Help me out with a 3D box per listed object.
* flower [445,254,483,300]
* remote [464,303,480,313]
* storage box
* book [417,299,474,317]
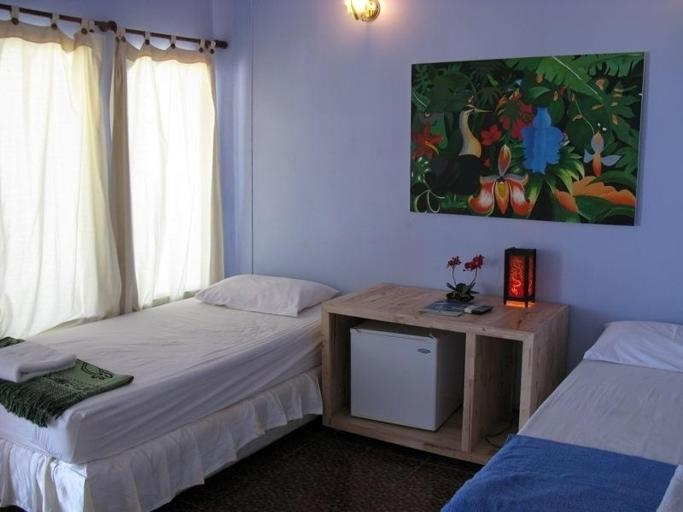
[{"bbox_3d":[0.796,0.144,3.522,0.290,0.390,0.262,0,8,8],"label":"flower"},{"bbox_3d":[0.764,0.318,3.199,0.052,0.014,0.056,8,20,44],"label":"remote"},{"bbox_3d":[0.448,0.678,3.577,0.586,0.677,0.643,8,7,18],"label":"storage box"},{"bbox_3d":[0.644,0.311,3.248,0.286,0.026,0.289,7,14,26],"label":"book"}]
